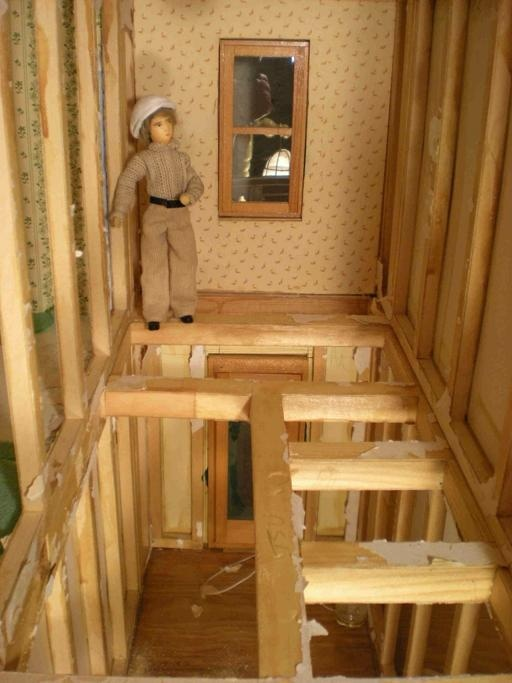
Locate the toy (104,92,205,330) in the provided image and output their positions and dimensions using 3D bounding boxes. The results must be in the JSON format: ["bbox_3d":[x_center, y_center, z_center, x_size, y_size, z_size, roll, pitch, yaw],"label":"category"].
[{"bbox_3d":[-0.507,-0.642,3.003,0.431,1.150,0.666,0,-5,-6],"label":"toy"}]
